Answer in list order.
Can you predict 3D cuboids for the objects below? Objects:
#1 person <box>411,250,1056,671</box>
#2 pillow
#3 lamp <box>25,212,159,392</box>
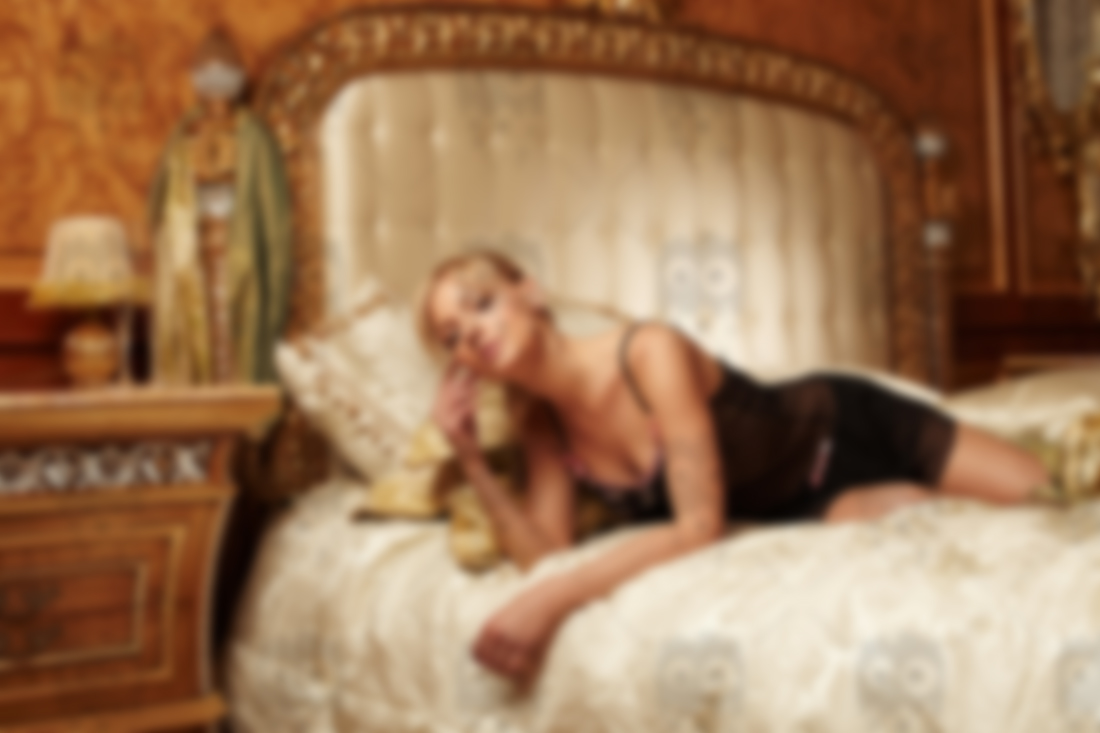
[{"bbox_3d":[0.526,0.169,2.731,1.510,0.881,0.970,2,-18,-37],"label":"person"},{"bbox_3d":[-0.593,0.043,3.235,0.174,0.580,0.554,-38,5,41],"label":"pillow"},{"bbox_3d":[-1.551,-0.204,3.372,0.369,0.557,0.329,0,-2,-37],"label":"lamp"}]
